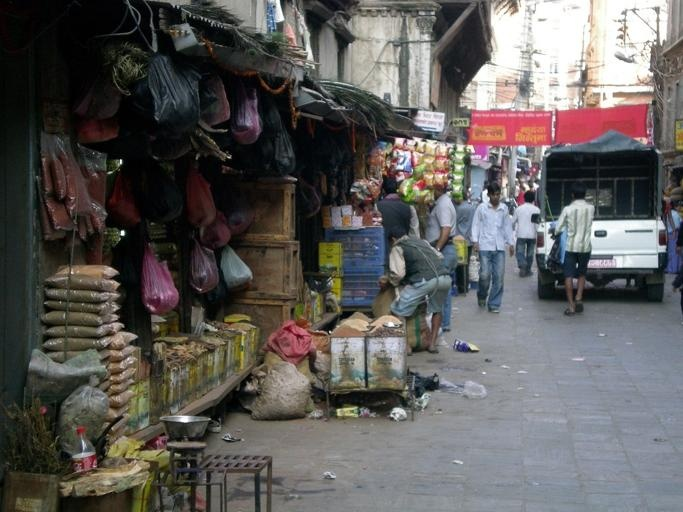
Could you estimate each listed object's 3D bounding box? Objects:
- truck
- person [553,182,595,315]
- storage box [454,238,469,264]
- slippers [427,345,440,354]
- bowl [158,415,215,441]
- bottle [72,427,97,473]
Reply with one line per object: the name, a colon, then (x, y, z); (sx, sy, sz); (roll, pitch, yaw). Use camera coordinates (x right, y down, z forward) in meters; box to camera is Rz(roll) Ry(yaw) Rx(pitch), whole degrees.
truck: (5.350, -0.938, 18.219); (2.336, 3.388, 5.099); (0, 9, 16)
person: (3.897, -0.092, 14.912); (0.609, 2.232, 0.833); (1, 0, -27)
storage box: (2.329, -0.073, 17.056); (0.408, 0.454, 0.438); (-1, -3, -4)
slippers: (1.259, 1.291, 12.009); (0.072, 0.099, 0.231); (-1, -8, -3)
bowl: (-1.152, 1.262, 6.475); (0.237, 0.106, 0.252); (4, -5, 0)
bottle: (-1.849, 1.378, 6.304); (0.156, 0.296, 0.202); (-3, 6, -24)
